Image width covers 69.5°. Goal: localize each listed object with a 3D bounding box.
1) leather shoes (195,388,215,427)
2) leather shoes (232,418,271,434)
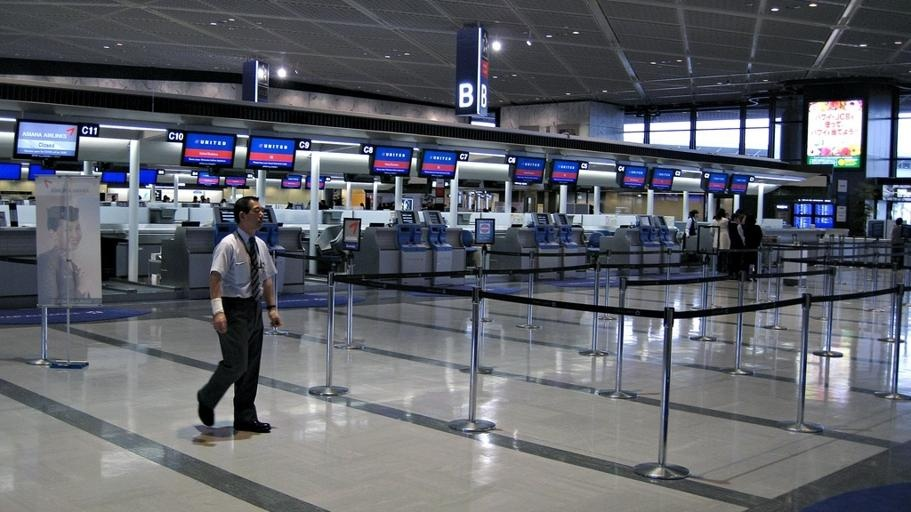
[{"bbox_3d":[-2.854,1.782,7.633,0.217,0.440,0.230,-7,-2,-45],"label":"leather shoes"},{"bbox_3d":[-2.347,1.982,7.592,0.498,0.132,0.151,0,0,-1],"label":"leather shoes"}]
